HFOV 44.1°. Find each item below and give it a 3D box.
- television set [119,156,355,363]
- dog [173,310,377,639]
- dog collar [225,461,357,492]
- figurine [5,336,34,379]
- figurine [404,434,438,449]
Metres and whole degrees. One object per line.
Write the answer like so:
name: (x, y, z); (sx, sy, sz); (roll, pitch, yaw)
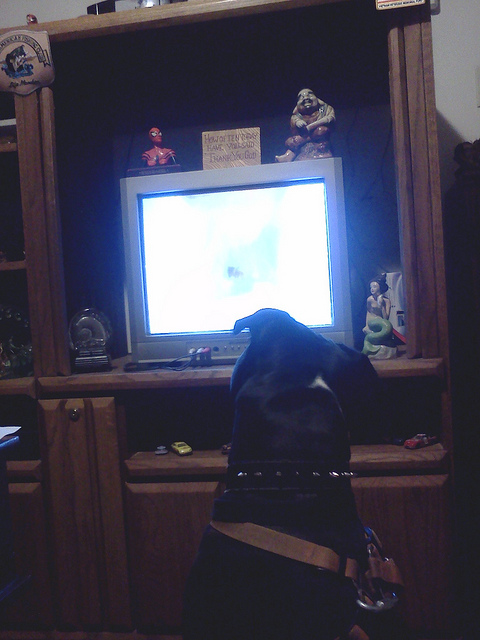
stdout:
television set: (-0.016, -0.135, 1.410); (0.537, 0.459, 0.085); (-3, 4, 4)
dog: (0.075, 0.257, 1.051); (0.304, 0.538, 0.335); (-3, 5, 15)
dog collar: (0.078, 0.256, 0.970); (0.209, 0.059, 0.045); (-3, 5, 4)
figurine: (-0.549, 0.089, 1.461); (0.061, 0.094, 0.085); (-6, 5, -20)
figurine: (0.391, 0.262, 1.279); (0.055, 0.022, 0.030); (0, 0, -29)
